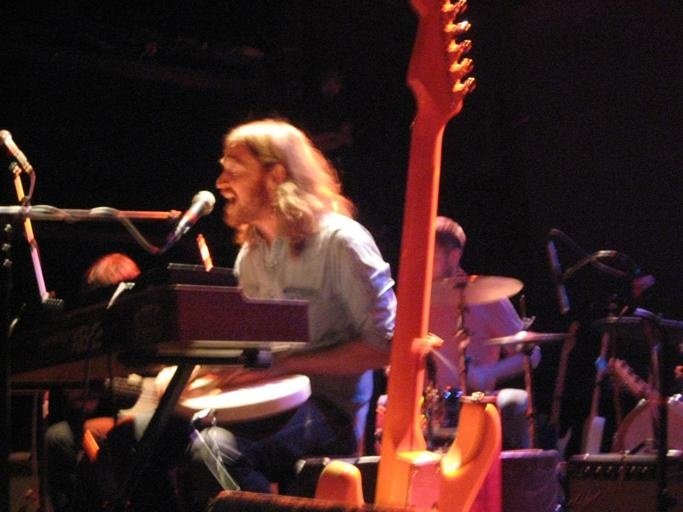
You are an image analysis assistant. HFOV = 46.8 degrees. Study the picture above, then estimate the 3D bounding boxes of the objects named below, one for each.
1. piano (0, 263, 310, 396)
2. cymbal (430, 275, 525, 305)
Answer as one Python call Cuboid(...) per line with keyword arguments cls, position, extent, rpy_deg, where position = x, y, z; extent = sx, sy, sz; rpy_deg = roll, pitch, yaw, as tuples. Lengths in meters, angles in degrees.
Cuboid(cls="piano", position=(-0.729, 0.288, 2.971), extent=(1.196, 0.457, 0.444), rpy_deg=(-5, -6, 38))
Cuboid(cls="cymbal", position=(0.761, 0.191, 4.479), extent=(0.287, 0.061, 0.278), rpy_deg=(-13, -27, 24))
